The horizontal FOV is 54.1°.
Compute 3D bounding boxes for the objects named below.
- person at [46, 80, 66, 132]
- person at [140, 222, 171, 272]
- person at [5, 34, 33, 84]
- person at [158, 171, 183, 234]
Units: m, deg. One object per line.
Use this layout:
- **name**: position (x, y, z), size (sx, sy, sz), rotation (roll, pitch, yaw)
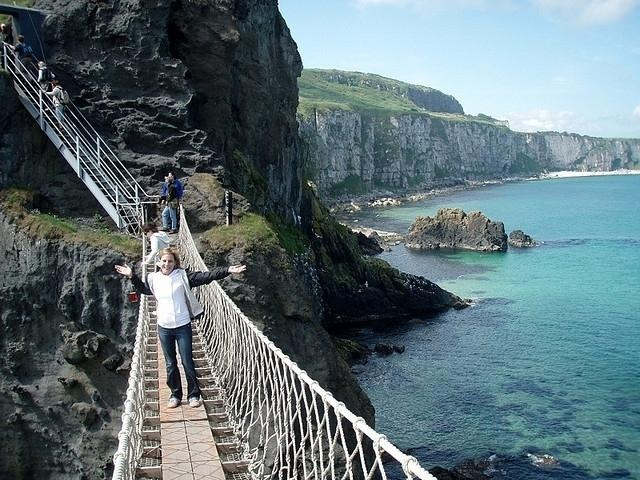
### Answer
- **person**: position (-10.114, -5.215, 24.170), size (0.679, 1.720, 1.548), rotation (-6, 3, -21)
- **person**: position (-4.475, 0.242, 16.856), size (0.620, 0.742, 1.433), rotation (11, -37, -3)
- **person**: position (-11.683, -7.002, 24.205), size (1.054, 1.703, 1.407), rotation (-6, 3, -24)
- **person**: position (-5.385, -1.327, 22.685), size (0.793, 1.763, 0.910), rotation (-5, 3, -13)
